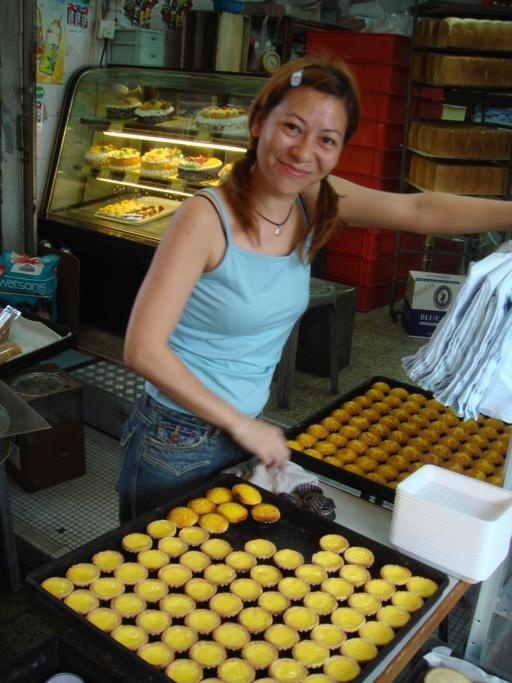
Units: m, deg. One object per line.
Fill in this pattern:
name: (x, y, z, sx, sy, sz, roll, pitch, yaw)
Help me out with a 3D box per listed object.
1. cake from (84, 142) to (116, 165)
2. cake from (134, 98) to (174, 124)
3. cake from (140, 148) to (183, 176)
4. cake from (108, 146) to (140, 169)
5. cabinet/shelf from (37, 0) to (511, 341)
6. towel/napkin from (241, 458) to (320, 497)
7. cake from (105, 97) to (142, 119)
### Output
cake: (-1.256, -1.509, 4.520, 0.222, 0.122, 0.206, 5, 33, 9)
cake: (-0.766, -1.742, 4.169, 0.201, 0.099, 0.224, -1, 33, -2)
cake: (-0.720, -1.373, 4.247, 0.268, 0.109, 0.248, -2, 24, -6)
cake: (-1.037, -1.461, 4.423, 0.208, 0.119, 0.201, -20, 38, -31)
cabinet/shelf: (-0.027, -1.141, 3.324, 2.795, 1.799, 1.378, 18, 23, 14)
towel/napkin: (0.050, 0.318, 1.305, 0.127, 0.033, 0.120, 3, 6, -26)
cake: (-1.042, -1.810, 4.347, 0.183, 0.108, 0.214, -2, 19, -8)
